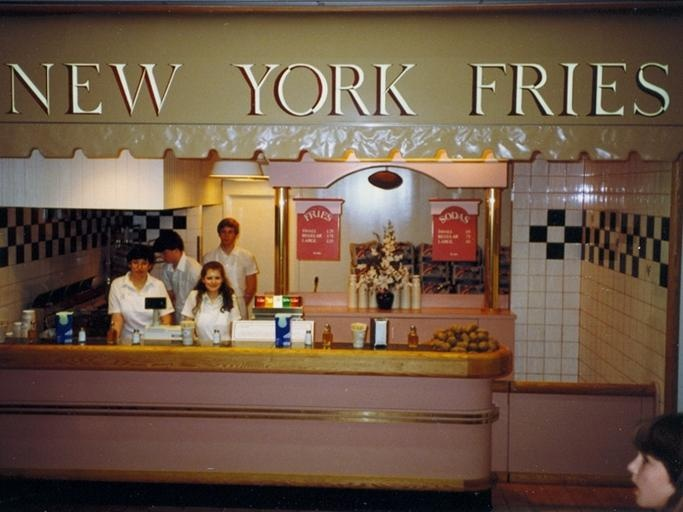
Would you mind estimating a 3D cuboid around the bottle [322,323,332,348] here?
[{"bbox_3d":[-0.117,0.642,6.380,0.088,0.187,0.230,0,3,-1],"label":"bottle"}]

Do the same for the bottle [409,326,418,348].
[{"bbox_3d":[0.572,0.648,6.346,0.076,0.177,0.121,0,3,5],"label":"bottle"}]

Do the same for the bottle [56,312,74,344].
[{"bbox_3d":[-2.276,0.589,6.465,0.129,0.243,0.203,-1,3,-22],"label":"bottle"}]

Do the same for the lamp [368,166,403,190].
[{"bbox_3d":[0.549,-0.969,9.937,0.440,0.267,0.271,0,3,4],"label":"lamp"}]

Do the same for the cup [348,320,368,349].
[{"bbox_3d":[0.136,0.642,6.366,0.118,0.196,0.182,0,3,-2],"label":"cup"}]

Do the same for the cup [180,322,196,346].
[{"bbox_3d":[-1.250,0.631,6.412,0.107,0.180,0.158,-1,3,-12],"label":"cup"}]

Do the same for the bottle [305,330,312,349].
[{"bbox_3d":[-0.266,0.682,6.338,0.053,0.117,0.036,2,-3,0],"label":"bottle"}]

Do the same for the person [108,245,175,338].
[{"bbox_3d":[-1.848,0.347,7.351,0.539,1.028,0.572,-4,20,-25],"label":"person"}]

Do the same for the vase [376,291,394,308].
[{"bbox_3d":[0.458,0.461,8.356,0.150,0.177,0.169,-1,-3,1],"label":"vase"}]

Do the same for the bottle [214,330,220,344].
[{"bbox_3d":[-1.016,0.659,6.426,0.059,0.112,0.125,0,3,-10],"label":"bottle"}]

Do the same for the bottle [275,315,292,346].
[{"bbox_3d":[-0.465,0.604,6.311,0.132,0.256,0.100,-1,2,-14],"label":"bottle"}]

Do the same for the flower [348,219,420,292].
[{"bbox_3d":[0.475,-0.033,8.420,0.419,0.591,0.326,20,-17,-37],"label":"flower"}]
